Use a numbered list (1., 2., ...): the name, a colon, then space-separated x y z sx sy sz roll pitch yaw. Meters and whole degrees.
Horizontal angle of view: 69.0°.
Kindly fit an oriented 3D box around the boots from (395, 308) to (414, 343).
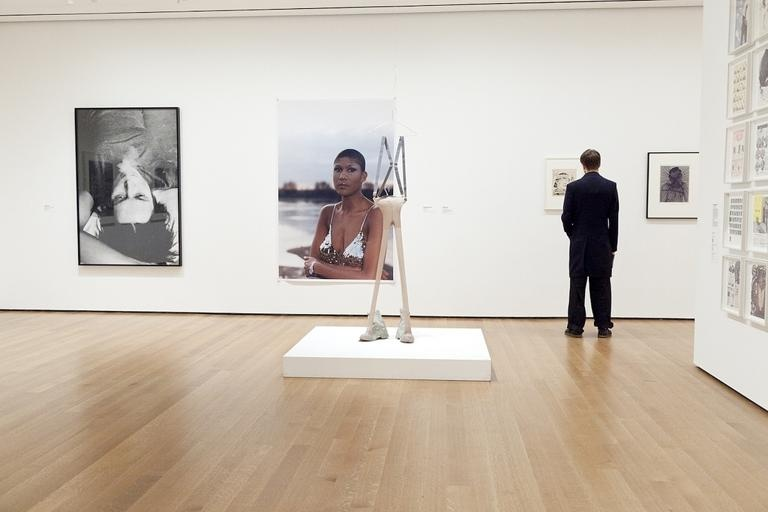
1. boots: 0.268 0.851 6.627 0.203 0.331 0.464 4 0 -10

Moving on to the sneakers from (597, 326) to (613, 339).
1. sneakers: 3.018 1.056 7.628 0.102 0.109 0.256 -2 -14 9

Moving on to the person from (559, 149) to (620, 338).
1. person: 2.774 0.013 7.581 0.718 2.171 0.402 3 12 16

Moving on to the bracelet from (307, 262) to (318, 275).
1. bracelet: -1.161 0.212 9.037 0.110 0.193 0.173 2 10 -10

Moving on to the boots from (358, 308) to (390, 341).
1. boots: -0.112 0.839 6.614 0.220 0.313 0.410 8 14 35
